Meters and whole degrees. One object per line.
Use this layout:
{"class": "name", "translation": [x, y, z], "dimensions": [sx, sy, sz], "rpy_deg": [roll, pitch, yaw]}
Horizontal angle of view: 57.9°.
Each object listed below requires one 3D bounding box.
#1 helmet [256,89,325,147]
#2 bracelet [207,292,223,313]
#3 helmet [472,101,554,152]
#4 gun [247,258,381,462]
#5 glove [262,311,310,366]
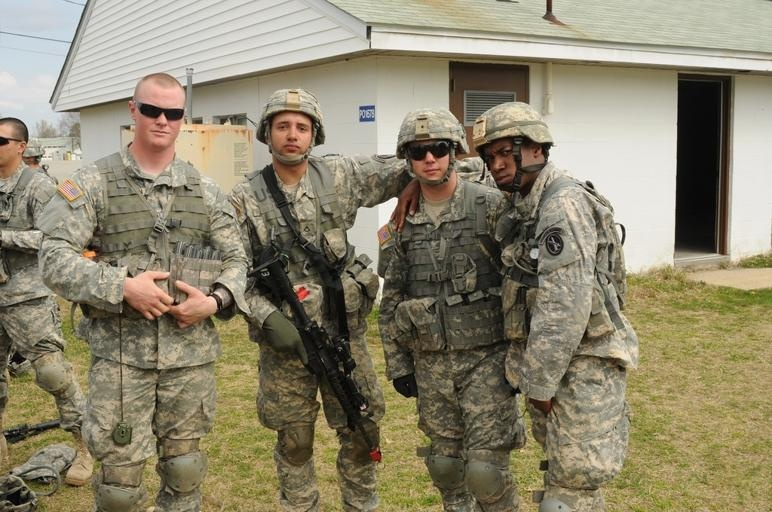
{"class": "helmet", "translation": [-0.779, -1.185, 5.683], "dimensions": [0.473, 0.398, 0.504], "rpy_deg": [0, -3, -5]}
{"class": "bracelet", "translation": [-1.261, 0.326, 5.187], "dimensions": [0.108, 0.145, 0.070], "rpy_deg": [29, 47, 33]}
{"class": "helmet", "translation": [0.929, -0.953, 5.187], "dimensions": [0.418, 0.260, 0.427], "rpy_deg": [-1, -5, 13]}
{"class": "gun", "translation": [-0.581, 0.822, 5.616], "dimensions": [0.684, 1.942, 0.276], "rpy_deg": [-28, 1, 23]}
{"class": "glove", "translation": [-0.794, 0.600, 5.335], "dimensions": [0.274, 0.472, 0.138], "rpy_deg": [-43, 15, -23]}
